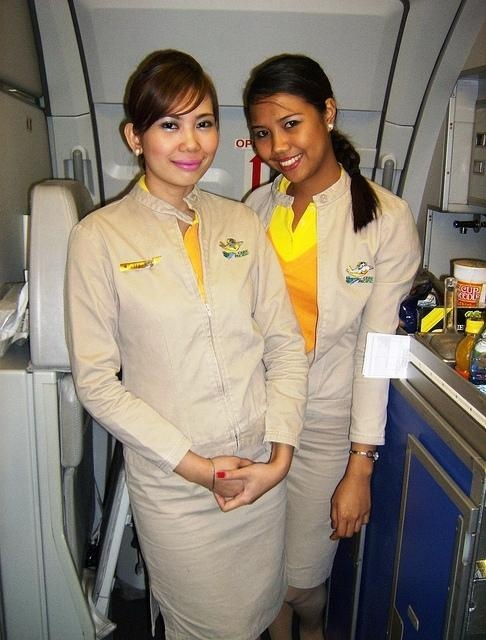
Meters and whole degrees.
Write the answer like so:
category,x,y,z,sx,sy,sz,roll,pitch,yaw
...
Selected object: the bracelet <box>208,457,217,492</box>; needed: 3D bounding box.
category,x,y,z,sx,sy,sz,roll,pitch,yaw
bracelet,-0.058,0.305,0.960,0.015,0.072,0.037,-2,12,-7
